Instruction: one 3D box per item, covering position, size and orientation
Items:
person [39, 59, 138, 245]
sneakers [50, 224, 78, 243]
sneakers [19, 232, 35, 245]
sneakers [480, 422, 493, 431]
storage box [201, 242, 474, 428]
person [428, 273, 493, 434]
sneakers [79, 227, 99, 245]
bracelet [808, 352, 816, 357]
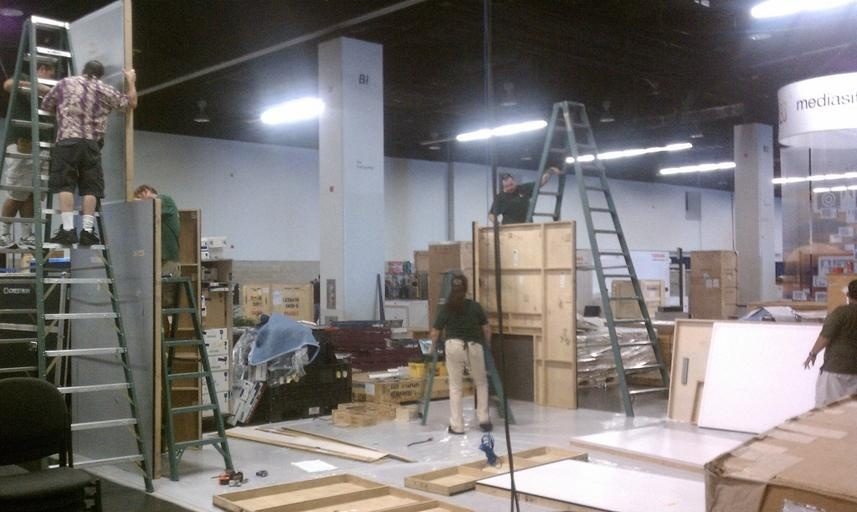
[{"bbox_3d":[-4.007,-1.237,7.976,0.917,2.256,0.543,-1,-1,-29],"label":"person"},{"bbox_3d":[-4.109,-0.222,7.674,0.130,0.153,0.359,-2,2,-43],"label":"sneakers"},{"bbox_3d":[-4.832,-0.195,8.150,0.150,0.167,0.693,0,-2,-31],"label":"sneakers"},{"bbox_3d":[0.806,2.359,9.397,0.160,0.156,0.093,-1,-1,7],"label":"sneakers"},{"bbox_3d":[-1.365,1.332,11.011,1.923,2.458,2.587,2,-8,-24],"label":"storage box"},{"bbox_3d":[0.450,1.329,9.433,0.822,2.191,0.420,-1,-1,2],"label":"person"},{"bbox_3d":[-3.931,-0.209,7.892,0.145,0.192,0.232,-2,-2,44],"label":"sneakers"},{"bbox_3d":[4.917,1.251,8.644,0.035,0.080,0.083,-1,-21,-25],"label":"bracelet"}]
